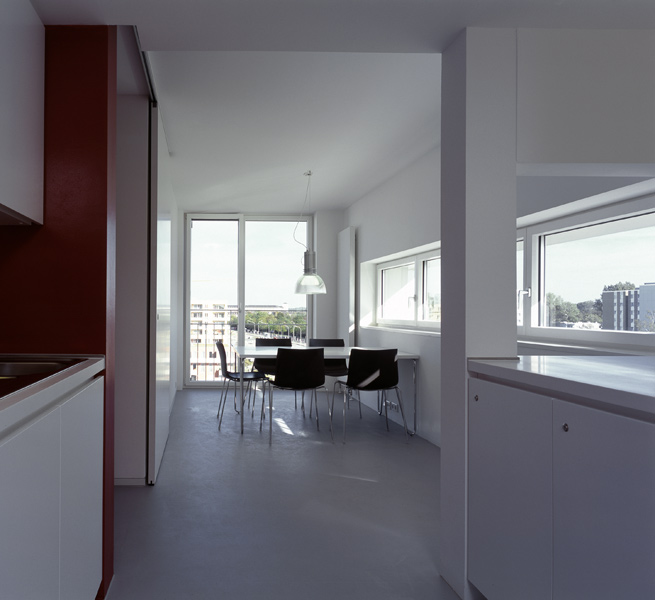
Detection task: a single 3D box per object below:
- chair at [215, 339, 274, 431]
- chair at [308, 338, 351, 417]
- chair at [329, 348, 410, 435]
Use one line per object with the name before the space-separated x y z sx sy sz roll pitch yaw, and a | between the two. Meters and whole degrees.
chair | -1.004 0.920 5.897 0.712 1.589 0.731 0 -1 -10
chair | 0.028 0.828 5.508 0.545 0.669 0.644 2 -6 -12
chair | 0.388 0.809 4.965 0.648 1.235 0.760 1 -4 -5
